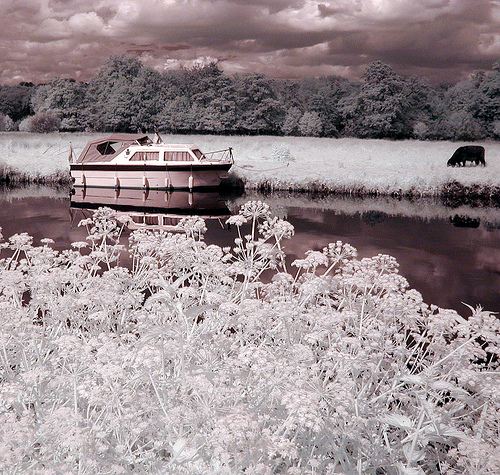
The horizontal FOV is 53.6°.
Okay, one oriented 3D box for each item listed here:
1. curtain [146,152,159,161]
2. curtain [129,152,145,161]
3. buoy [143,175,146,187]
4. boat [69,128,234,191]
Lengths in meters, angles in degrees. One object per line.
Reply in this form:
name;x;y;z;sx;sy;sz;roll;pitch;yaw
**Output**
curtain;-4.386;-3.680;22.474;0.539;0.291;0.064;0;-9;1
curtain;-5.156;-3.718;22.670;0.552;0.384;0.065;2;-12;-10
buoy;-4.759;-2.542;22.339;0.176;0.484;0.148;7;28;21
boat;-3.083;-3.611;23.357;10.374;3.063;2.928;1;12;6
